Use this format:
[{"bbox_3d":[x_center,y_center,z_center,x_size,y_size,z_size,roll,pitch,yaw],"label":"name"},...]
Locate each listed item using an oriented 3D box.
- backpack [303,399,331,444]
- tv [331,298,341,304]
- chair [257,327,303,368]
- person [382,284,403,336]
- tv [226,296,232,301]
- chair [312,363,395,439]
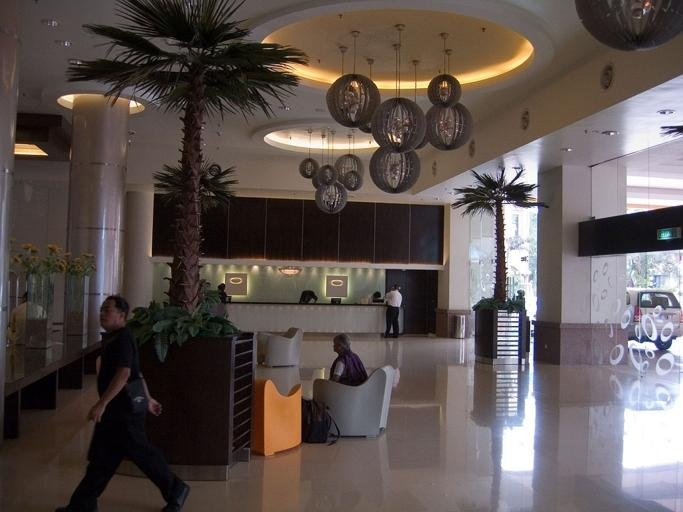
[{"bbox_3d":[-0.315,2.006,6.729,0.397,0.498,0.343,1,-5,-4],"label":"backpack"},{"bbox_3d":[-0.173,1.517,19.131,0.344,0.133,0.659,1,-1,1],"label":"tv"},{"bbox_3d":[-1.232,1.867,11.176,0.709,0.809,0.897,0,-6,-2],"label":"chair"},{"bbox_3d":[1.659,1.765,18.147,0.490,1.687,0.792,1,-1,9],"label":"person"},{"bbox_3d":[-3.705,1.389,18.570,0.146,0.176,0.659,1,-1,-13],"label":"tv"},{"bbox_3d":[0.139,1.800,6.975,0.868,0.767,0.793,1,-7,5],"label":"chair"}]
